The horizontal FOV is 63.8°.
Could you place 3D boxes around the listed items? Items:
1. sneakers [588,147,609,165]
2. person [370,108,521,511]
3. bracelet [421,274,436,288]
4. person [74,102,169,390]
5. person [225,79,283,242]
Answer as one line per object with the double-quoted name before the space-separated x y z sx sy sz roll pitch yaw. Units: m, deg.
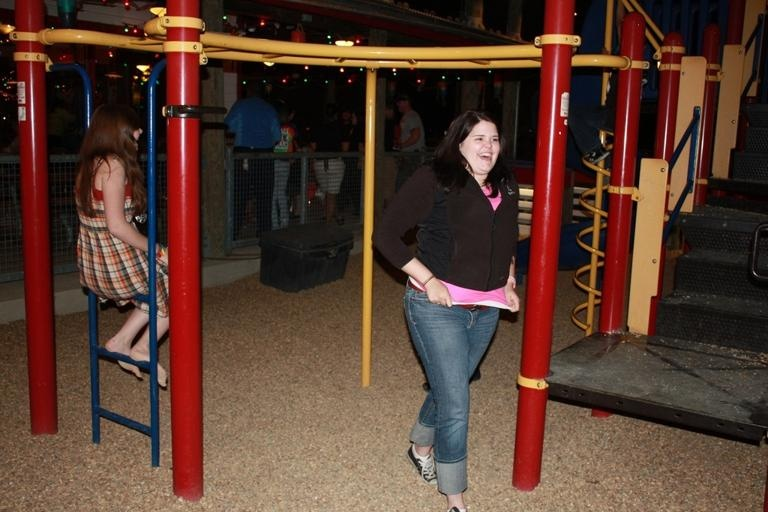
"sneakers" 1.926 -0.909 5.550 0.122 0.091 0.170 -19 16 -25
"person" 0.374 0.303 3.914 0.735 2.350 0.764 11 20 26
"bracelet" 0.270 0.150 3.695 0.026 0.069 0.061 44 3 -4
"person" -1.875 0.064 4.492 0.552 2.215 0.730 -9 21 -31
"person" -1.948 -1.401 9.345 0.795 1.911 1.420 -2 19 -14
